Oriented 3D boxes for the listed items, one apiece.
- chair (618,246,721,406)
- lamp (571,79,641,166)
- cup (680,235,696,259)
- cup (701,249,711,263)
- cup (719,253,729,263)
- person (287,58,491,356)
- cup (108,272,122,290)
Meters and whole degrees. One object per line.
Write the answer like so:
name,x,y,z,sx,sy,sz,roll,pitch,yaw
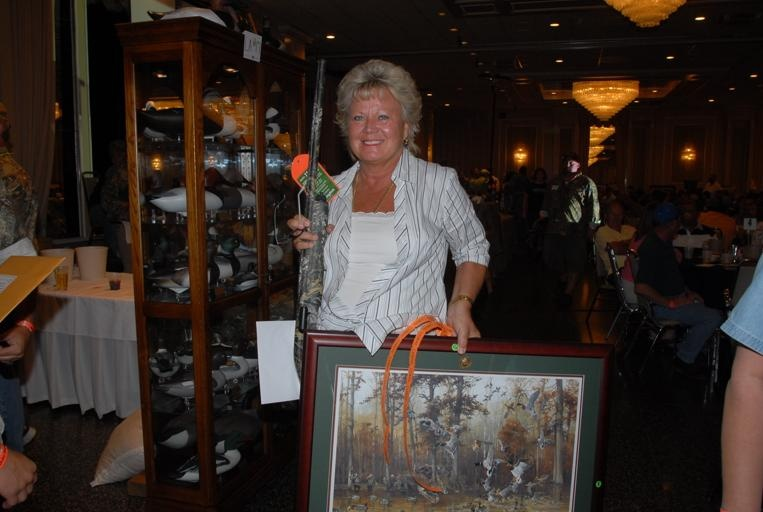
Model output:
chair,2.547,0.461,4.860,0.813,1.286,0.772,6,15,25
lamp,5.865,-3.445,14.914,1.366,2.338,5.782,5,15,19
cup,3.302,-0.104,5.972,0.179,0.254,0.215,-5,-12,38
cup,3.208,0.013,5.458,0.094,0.192,0.098,-1,0,0
cup,3.333,0.012,5.372,0.077,0.086,0.084,2,-6,0
person,0.078,-0.217,2.073,0.646,1.026,0.533,3,13,10
cup,-2.068,0.197,4.271,0.093,0.106,0.097,-2,1,0
